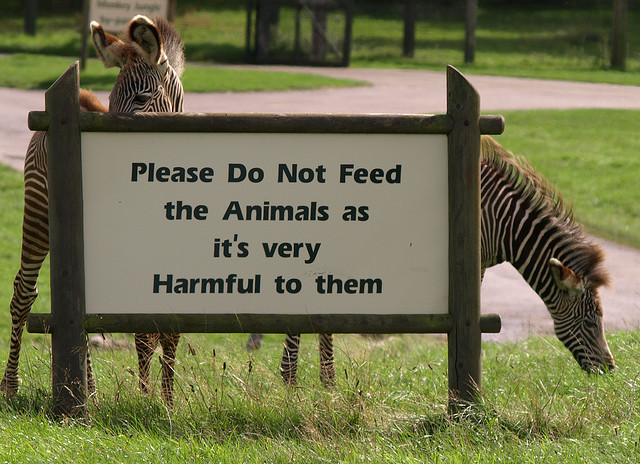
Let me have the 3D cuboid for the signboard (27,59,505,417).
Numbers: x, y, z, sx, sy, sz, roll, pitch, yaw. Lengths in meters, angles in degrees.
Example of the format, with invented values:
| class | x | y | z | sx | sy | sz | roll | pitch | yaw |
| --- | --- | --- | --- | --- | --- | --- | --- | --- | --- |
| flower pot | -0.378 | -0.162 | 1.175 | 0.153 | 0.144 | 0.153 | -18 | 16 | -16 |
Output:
| class | x | y | z | sx | sy | sz | roll | pitch | yaw |
| --- | --- | --- | --- | --- | --- | --- | --- | --- | --- |
| signboard | -0.756 | 0.272 | 20.794 | 4.305 | 4.407 | 0.272 | 0 | 0 | -1 |
